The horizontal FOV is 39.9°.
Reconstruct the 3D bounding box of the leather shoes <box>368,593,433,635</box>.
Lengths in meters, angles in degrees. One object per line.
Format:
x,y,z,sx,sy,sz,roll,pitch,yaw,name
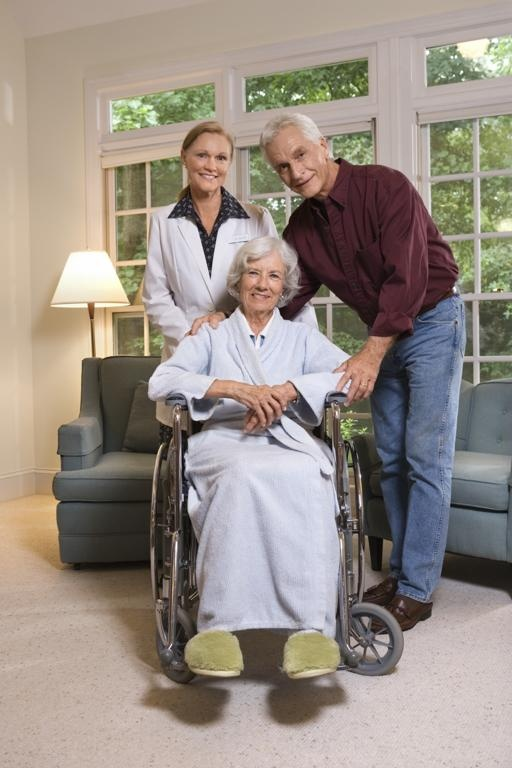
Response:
0.441,0.658,2.083,0.116,0.120,0.298,-5,-9,42,leather shoes

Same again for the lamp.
-0.951,-0.461,4.117,0.406,0.591,0.500,-1,1,-7,lamp

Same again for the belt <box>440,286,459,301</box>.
0.577,-0.274,2.083,0.039,0.019,0.050,-17,15,37,belt

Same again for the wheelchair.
0.010,0.418,1.982,0.521,0.754,0.879,0,4,0,wheelchair

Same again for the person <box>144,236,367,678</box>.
-0.025,0.173,1.697,0.499,1.140,0.743,-1,1,7,person

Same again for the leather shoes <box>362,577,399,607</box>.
0.383,0.633,2.132,0.052,0.050,0.135,0,-2,35,leather shoes

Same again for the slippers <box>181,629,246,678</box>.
-0.085,0.562,1.407,0.106,0.101,0.140,-1,1,-6,slippers

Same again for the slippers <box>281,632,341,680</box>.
0.113,0.546,1.409,0.105,0.062,0.164,-1,1,8,slippers
